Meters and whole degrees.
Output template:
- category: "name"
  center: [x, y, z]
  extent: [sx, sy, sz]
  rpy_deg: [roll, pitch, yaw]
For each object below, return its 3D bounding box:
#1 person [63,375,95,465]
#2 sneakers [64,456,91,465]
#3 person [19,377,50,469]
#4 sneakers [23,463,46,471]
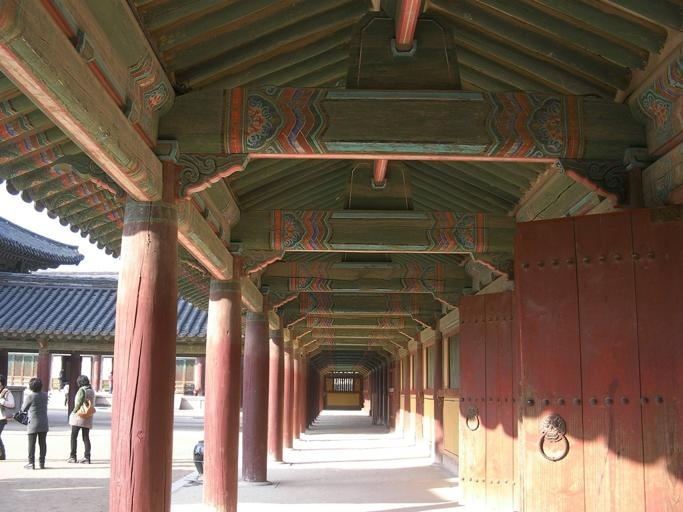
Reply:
- category: "person"
  center: [-4.564, 2.867, 12.160]
  extent: [0.466, 1.490, 1.589]
  rpy_deg: [9, -19, -17]
- category: "sneakers"
  center: [-4.778, 3.709, 12.503]
  extent: [0.477, 0.168, 0.150]
  rpy_deg: [13, -30, -15]
- category: "person"
  center: [-5.145, 2.786, 11.581]
  extent: [0.512, 1.473, 0.818]
  rpy_deg: [10, -20, -20]
- category: "sneakers"
  center: [-5.233, 3.555, 11.684]
  extent: [0.365, 0.141, 0.124]
  rpy_deg: [10, -19, -20]
